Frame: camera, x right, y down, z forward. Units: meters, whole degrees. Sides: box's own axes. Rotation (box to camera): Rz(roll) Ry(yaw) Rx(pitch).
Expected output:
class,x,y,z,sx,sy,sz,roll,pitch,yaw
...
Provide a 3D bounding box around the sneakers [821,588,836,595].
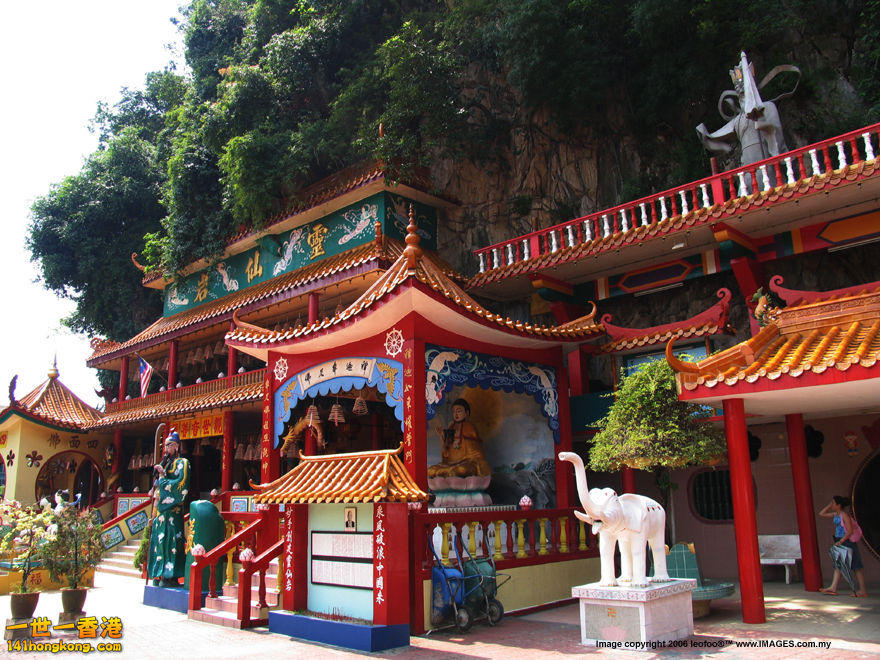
class,x,y,z,sx,sy,sz,roll,pitch,yaw
sneakers,6.571,4.416,14.183,0.254,0.103,0.094,-3,-18,26

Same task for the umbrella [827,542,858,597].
class,x,y,z,sx,sy,sz,roll,pitch,yaw
umbrella,6.917,4.103,14.329,0.463,0.957,0.815,-7,-12,41

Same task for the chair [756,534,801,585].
class,x,y,z,sx,sy,sz,roll,pitch,yaw
chair,6.323,4.197,15.559,0.685,0.839,0.597,-1,3,21

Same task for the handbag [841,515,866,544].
class,x,y,z,sx,sy,sz,roll,pitch,yaw
handbag,6.978,3.364,14.189,0.231,0.453,0.192,-1,3,34

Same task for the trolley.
class,x,y,z,sx,sy,sz,roll,pitch,yaw
trolley,0.155,4.032,13.394,1.362,1.929,1.374,-18,-28,34
